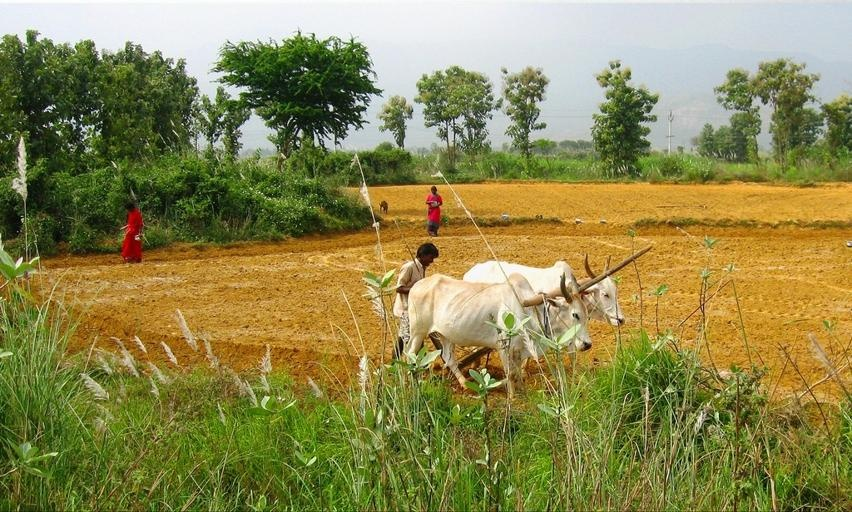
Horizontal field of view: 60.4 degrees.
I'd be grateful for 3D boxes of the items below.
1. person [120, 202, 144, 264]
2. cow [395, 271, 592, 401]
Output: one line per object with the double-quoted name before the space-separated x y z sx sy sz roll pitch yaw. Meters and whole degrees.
"person" -6.854 -0.570 17.087 0.467 1.426 0.520 -5 5 -24
"cow" 1.398 1.142 10.545 2.327 1.886 3.097 -5 5 -27
